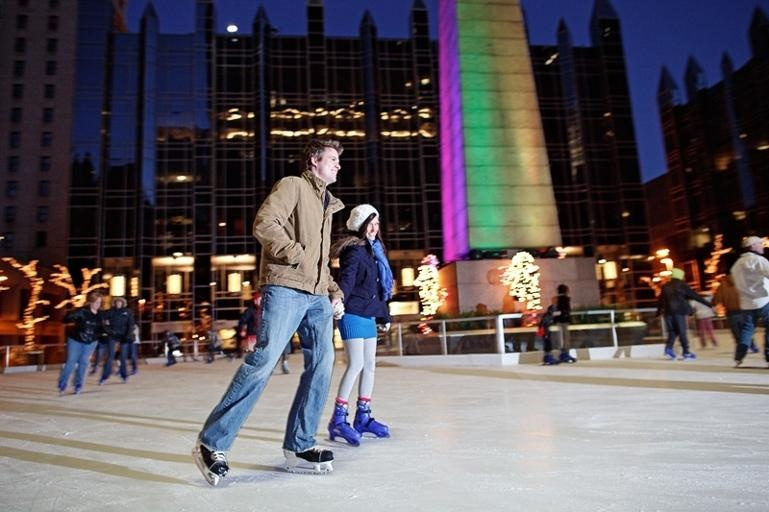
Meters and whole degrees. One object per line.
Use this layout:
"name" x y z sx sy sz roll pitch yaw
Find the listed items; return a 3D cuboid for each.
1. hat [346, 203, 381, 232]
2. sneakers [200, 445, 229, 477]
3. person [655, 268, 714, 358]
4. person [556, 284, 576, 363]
"hat" -0.299 -0.443 7.011 0.317 0.331 0.377 -4 10 -30
"sneakers" -1.505 1.857 5.296 0.176 0.392 0.135 -33 -36 9
"person" 7.037 1.381 14.066 0.910 2.216 1.065 -5 -8 22
"person" 4.771 1.819 15.685 0.381 2.032 0.764 -4 -8 16
